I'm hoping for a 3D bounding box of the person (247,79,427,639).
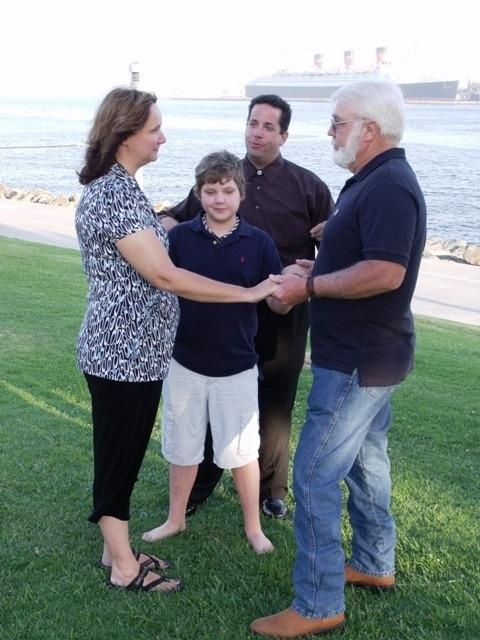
[{"bbox_3d":[0.430,0.117,2.232,0.541,2.038,0.626,7,10,11],"label":"person"}]

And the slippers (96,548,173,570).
[{"bbox_3d":[-0.439,1.022,2.530,0.277,0.060,0.109,0,7,3],"label":"slippers"}]

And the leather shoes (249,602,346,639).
[{"bbox_3d":[0.201,1.099,2.228,0.370,0.132,0.115,2,-6,3],"label":"leather shoes"}]

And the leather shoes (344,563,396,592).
[{"bbox_3d":[0.536,1.073,2.518,0.217,0.079,0.078,0,0,26],"label":"leather shoes"}]

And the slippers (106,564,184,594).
[{"bbox_3d":[-0.369,1.029,2.409,0.242,0.066,0.118,1,4,-5],"label":"slippers"}]
